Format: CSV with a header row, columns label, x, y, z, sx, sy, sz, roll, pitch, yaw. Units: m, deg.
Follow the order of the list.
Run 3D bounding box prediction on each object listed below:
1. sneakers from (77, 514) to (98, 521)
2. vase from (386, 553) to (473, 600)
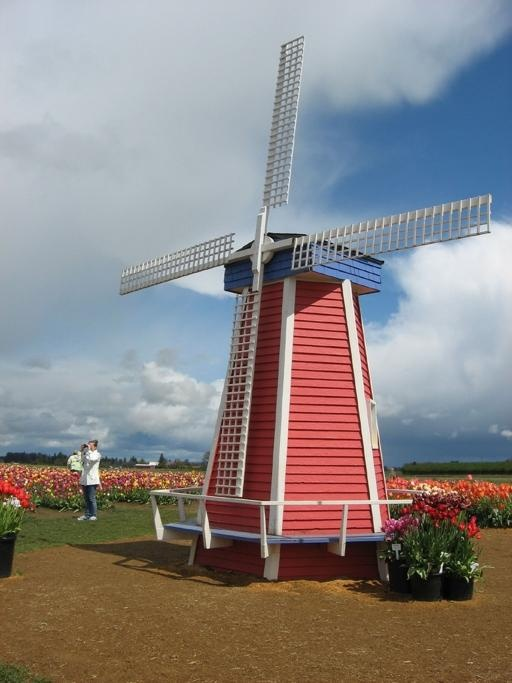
label,x,y,z,sx,sy,sz,roll,pitch,yaw
sneakers,-4.152,4.267,13.321,0.484,0.185,0.166,2,-23,3
vase,2.287,2.979,6.988,0.747,0.242,0.574,5,-9,-26
